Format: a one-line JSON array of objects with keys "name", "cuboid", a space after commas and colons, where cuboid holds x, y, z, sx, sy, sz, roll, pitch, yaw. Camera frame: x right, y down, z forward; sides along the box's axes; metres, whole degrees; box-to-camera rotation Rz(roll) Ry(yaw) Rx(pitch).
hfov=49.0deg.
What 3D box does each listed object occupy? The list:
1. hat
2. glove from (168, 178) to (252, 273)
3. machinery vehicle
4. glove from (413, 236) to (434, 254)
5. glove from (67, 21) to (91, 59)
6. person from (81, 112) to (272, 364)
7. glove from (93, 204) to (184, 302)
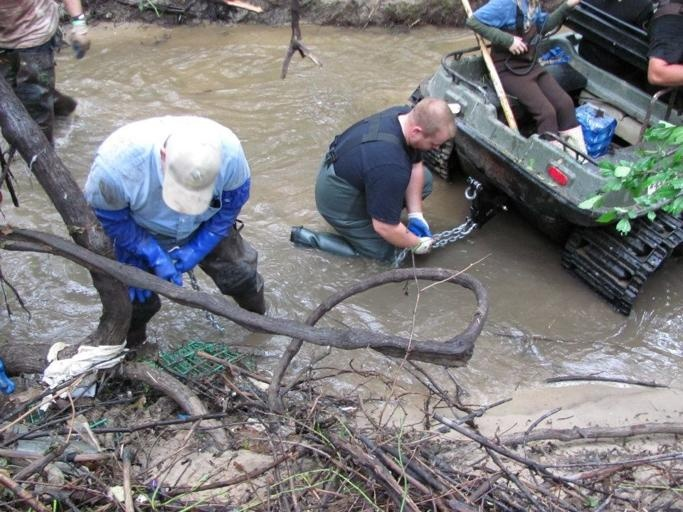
[{"name": "hat", "cuboid": [-1.004, -0.538, 5.010, 0.394, 0.560, 0.297, 0, -1, -27]}, {"name": "glove", "cuboid": [-0.981, -0.189, 5.743, 0.571, 0.281, 0.723, 36, 75, -14]}, {"name": "machinery vehicle", "cuboid": [2.137, -1.101, 6.926, 1.866, 1.942, 2.840, -16, 41, -32]}, {"name": "glove", "cuboid": [0.735, -0.094, 6.638, 0.179, 0.131, 0.072, -28, 87, -39]}, {"name": "glove", "cuboid": [-2.413, -1.960, 6.933, 0.147, 0.462, 0.634, -5, 36, -19]}, {"name": "person", "cuboid": [-1.173, -0.097, 5.470, 1.274, 1.887, 0.726, -4, 36, -18]}, {"name": "glove", "cuboid": [-1.518, -0.014, 5.403, 0.273, 0.745, 0.401, -37, 42, 10]}]
